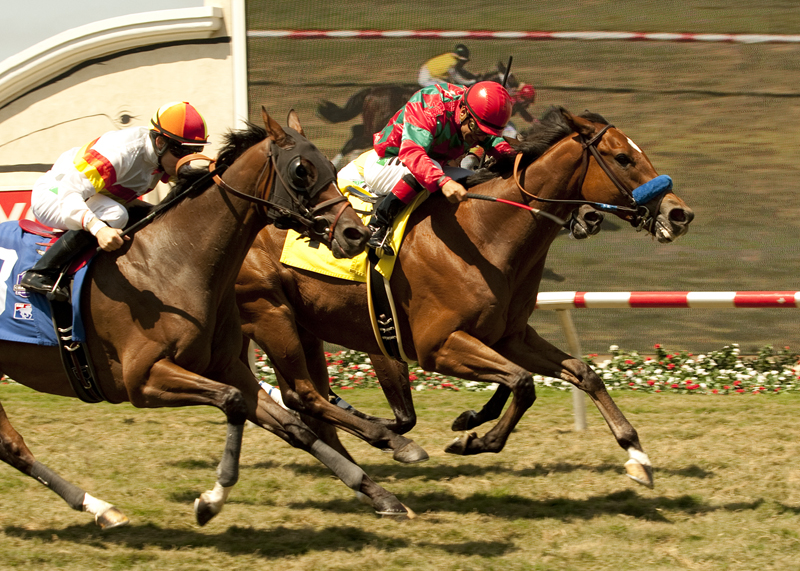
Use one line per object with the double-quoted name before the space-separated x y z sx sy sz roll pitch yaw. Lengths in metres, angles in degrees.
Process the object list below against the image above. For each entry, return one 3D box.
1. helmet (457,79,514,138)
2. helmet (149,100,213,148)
"helmet" 0.559 -1.007 5.243 0.352 0.319 0.177 16 -29 13
"helmet" -1.069 -0.788 4.731 0.333 0.153 0.222 28 13 16
